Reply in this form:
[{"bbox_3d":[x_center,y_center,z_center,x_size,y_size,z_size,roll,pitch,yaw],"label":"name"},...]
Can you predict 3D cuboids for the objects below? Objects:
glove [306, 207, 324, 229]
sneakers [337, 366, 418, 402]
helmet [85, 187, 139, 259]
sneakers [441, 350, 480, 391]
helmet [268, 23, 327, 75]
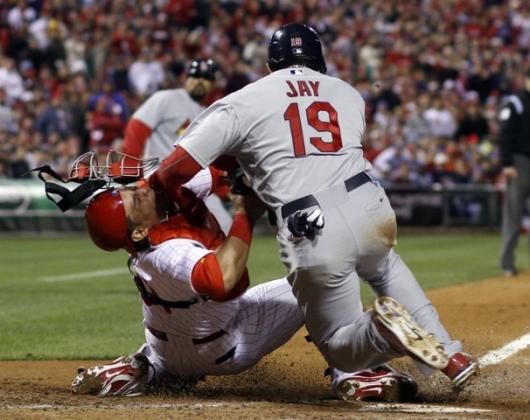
[{"bbox_3d":[0.323,0.051,5.225,0.100,0.126,0.047,-46,16,-8],"label":"glove"},{"bbox_3d":[0.753,1.171,5.643,0.490,0.171,0.242,-1,-10,-4],"label":"sneakers"},{"bbox_3d":[-1.008,0.075,5.481,0.319,0.437,0.177,-2,8,-8],"label":"helmet"},{"bbox_3d":[1.271,1.045,5.400,0.236,0.252,0.143,-4,8,-26],"label":"sneakers"},{"bbox_3d":[0.182,-1.097,5.649,0.351,0.321,0.388,-3,13,0],"label":"helmet"}]
